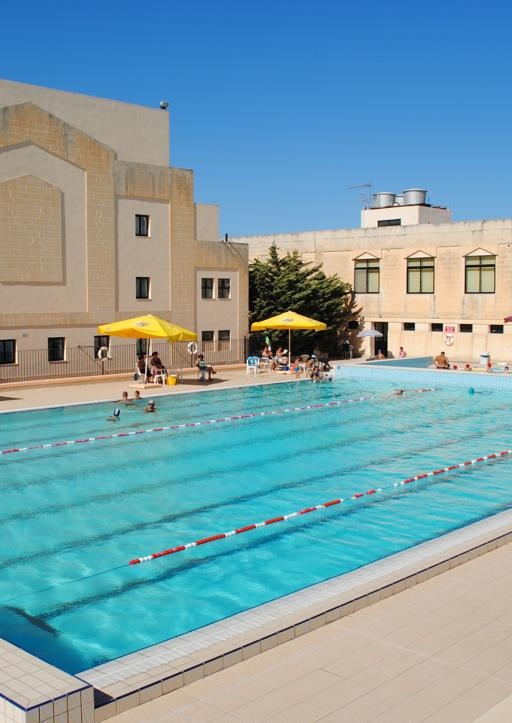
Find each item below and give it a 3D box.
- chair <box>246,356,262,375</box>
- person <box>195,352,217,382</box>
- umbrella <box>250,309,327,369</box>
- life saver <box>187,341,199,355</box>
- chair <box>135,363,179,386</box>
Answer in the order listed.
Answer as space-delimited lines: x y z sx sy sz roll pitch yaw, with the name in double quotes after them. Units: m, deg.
-0.204 0.151 33.615 0.829 0.910 0.710 0 0 22 "chair"
-1.982 0.245 30.283 0.576 0.915 1.788 0 5 -2 "person"
1.457 -1.245 33.314 2.354 1.537 2.202 4 -7 -19 "umbrella"
-2.736 -0.577 33.623 0.198 0.521 0.402 -4 7 -13 "life saver"
-3.640 0.482 28.554 1.302 0.452 0.777 4 7 26 "chair"
